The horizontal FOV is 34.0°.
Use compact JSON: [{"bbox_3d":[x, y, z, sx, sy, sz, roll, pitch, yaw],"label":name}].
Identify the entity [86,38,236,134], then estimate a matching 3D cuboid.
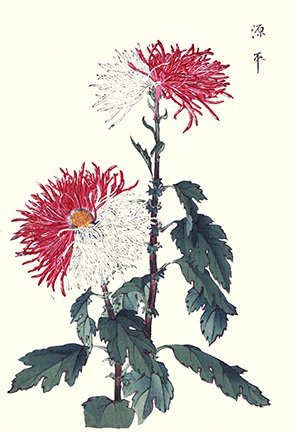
[{"bbox_3d":[0.041,-0.442,1.586,0.434,0.414,0.152,-1,-82,2],"label":"entity"}]
